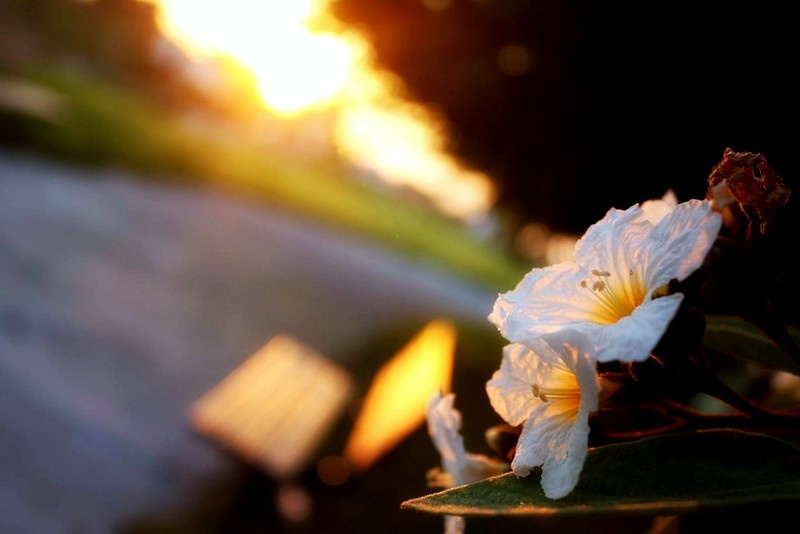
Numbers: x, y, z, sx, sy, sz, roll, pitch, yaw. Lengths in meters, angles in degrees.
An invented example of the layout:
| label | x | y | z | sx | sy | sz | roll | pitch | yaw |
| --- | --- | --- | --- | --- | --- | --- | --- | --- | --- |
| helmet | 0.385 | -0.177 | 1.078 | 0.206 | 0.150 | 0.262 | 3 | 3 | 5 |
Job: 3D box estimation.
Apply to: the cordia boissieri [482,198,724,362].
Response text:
| label | x | y | z | sx | sy | sz | roll | pitch | yaw |
| --- | --- | --- | --- | --- | --- | --- | --- | --- | --- |
| cordia boissieri | 0.280 | 0.006 | 1.051 | 0.261 | 0.210 | 0.186 | -1 | 12 | -19 |

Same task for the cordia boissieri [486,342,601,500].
| label | x | y | z | sx | sy | sz | roll | pitch | yaw |
| --- | --- | --- | --- | --- | --- | --- | --- | --- | --- |
| cordia boissieri | 0.194 | 0.195 | 1.069 | 0.164 | 0.213 | 0.129 | 5 | 12 | 14 |
